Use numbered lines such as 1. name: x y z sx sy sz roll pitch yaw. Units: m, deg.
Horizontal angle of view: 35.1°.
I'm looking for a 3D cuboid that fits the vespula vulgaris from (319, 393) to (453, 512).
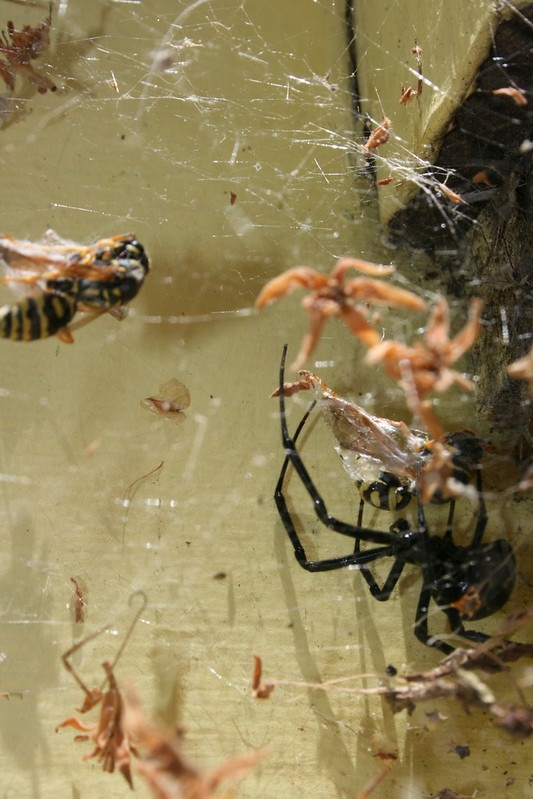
1. vespula vulgaris: 0.430 0.171 2.904 0.636 0.231 0.199 21 99 30
